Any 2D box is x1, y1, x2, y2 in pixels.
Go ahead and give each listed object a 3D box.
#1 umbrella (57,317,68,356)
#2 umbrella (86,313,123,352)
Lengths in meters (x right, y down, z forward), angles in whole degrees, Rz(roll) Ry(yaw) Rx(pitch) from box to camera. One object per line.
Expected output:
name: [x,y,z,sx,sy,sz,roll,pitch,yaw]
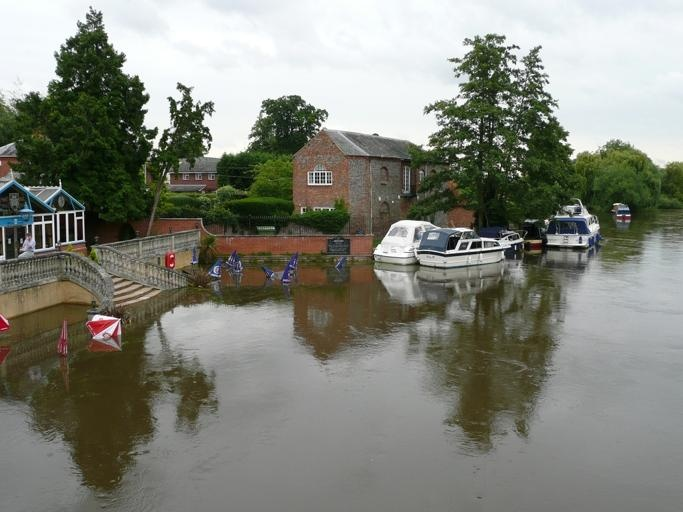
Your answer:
umbrella: [-10.015,2.859,22.417,0.346,1.258,0.916,-6,13,-27]
umbrella: [-8.991,2.806,23.804,1.191,0.777,2.118,-5,13,-23]
